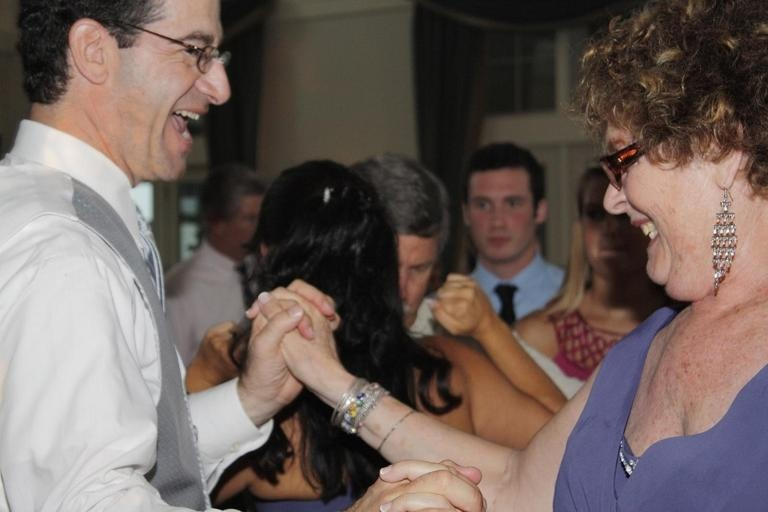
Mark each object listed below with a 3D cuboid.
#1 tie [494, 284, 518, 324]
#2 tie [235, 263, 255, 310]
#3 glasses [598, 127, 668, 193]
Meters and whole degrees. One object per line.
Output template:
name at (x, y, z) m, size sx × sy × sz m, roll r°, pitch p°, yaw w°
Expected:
tie at (0.392, 0.149, 3.449) m, size 0.061 × 0.147 × 0.039 m, roll -3°, pitch 20°, yaw 6°
tie at (-0.448, 0.096, 3.410) m, size 0.033 × 0.121 × 0.092 m, roll -3°, pitch -1°, yaw 5°
glasses at (0.635, -0.249, 2.722) m, size 0.120 × 0.055 × 0.103 m, roll -27°, pitch -21°, yaw -18°
